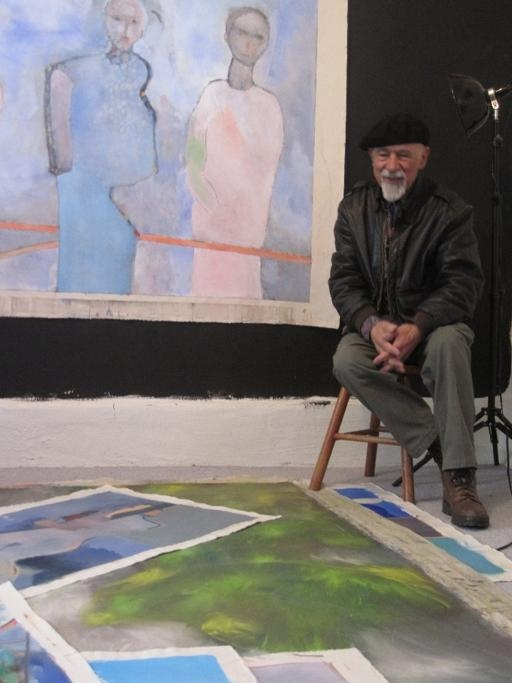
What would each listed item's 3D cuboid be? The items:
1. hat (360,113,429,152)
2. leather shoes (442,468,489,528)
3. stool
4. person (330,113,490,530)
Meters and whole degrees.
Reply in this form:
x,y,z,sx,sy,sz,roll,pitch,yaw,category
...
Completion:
x,y,z,sx,sy,sz,roll,pitch,yaw,category
0.426,-0.617,2.183,0.155,0.072,0.110,-2,20,1,hat
0.582,0.426,2.019,0.121,0.137,0.166,2,3,6,leather shoes
0.350,0.289,2.366,0.386,0.392,0.378,1,-6,38,stool
0.479,-0.094,2.215,0.637,1.147,0.306,5,3,43,person
